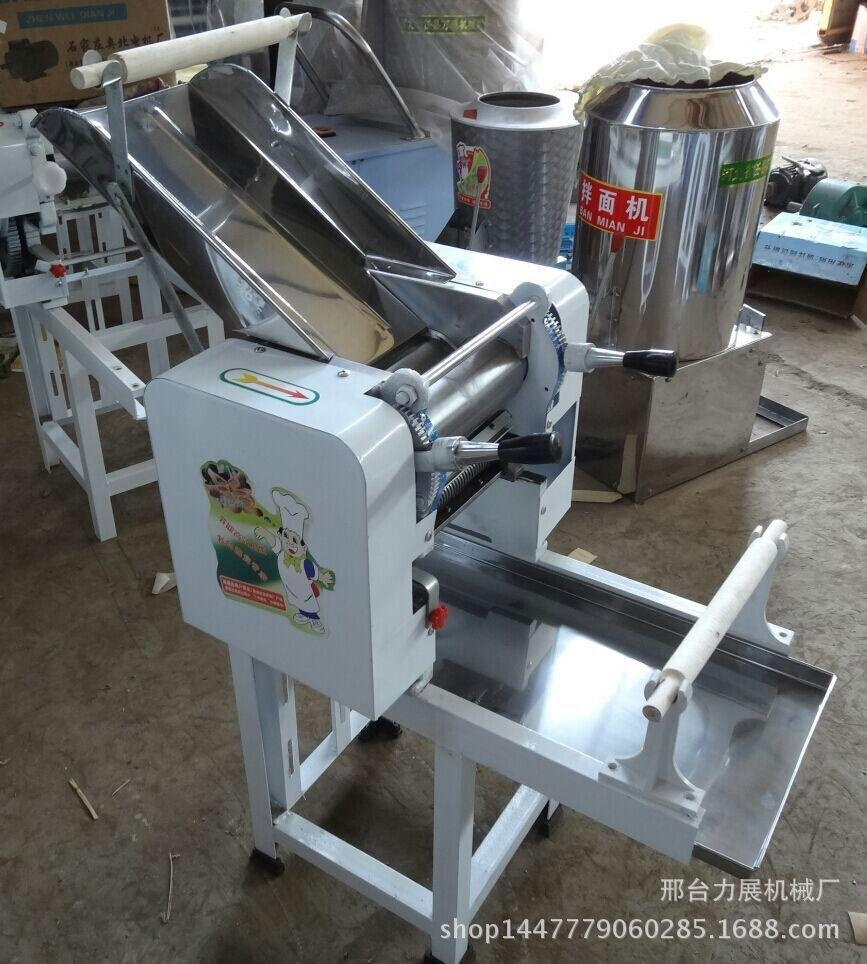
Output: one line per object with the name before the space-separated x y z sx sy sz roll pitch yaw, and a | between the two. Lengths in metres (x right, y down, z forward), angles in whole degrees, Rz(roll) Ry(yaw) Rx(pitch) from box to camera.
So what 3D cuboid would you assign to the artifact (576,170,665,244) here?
artifact | 0.507 -0.757 2.192 0.258 0.120 0.046 29 44 31
